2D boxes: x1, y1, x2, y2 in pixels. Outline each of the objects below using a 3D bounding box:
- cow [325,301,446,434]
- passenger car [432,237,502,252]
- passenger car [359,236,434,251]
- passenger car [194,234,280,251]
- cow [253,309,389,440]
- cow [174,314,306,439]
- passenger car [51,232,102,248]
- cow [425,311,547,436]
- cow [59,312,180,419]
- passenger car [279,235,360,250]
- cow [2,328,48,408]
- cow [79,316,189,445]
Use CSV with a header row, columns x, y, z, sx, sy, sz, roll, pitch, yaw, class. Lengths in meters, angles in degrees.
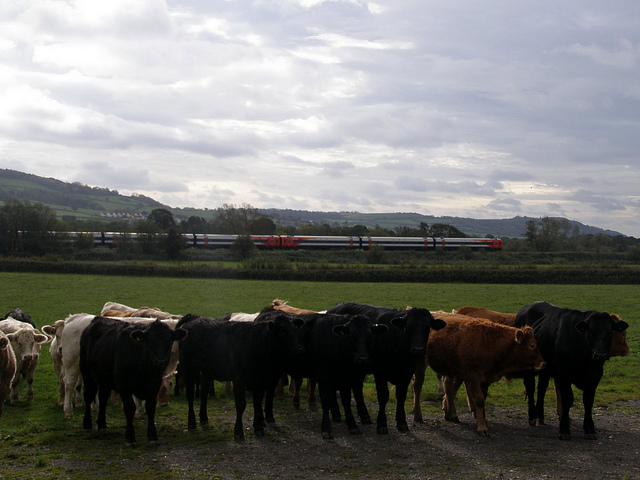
x,y,z,sx,sy,sz,roll,pitch,yaw,class
1.871,3.839,23.833,1.543,3.497,5.018,4,-7,-25,cow
18.675,0.673,100.314,9.197,1.651,3.212,0,-1,-33,passenger car
9.173,0.561,96.223,9.243,2.070,1.518,1,4,-8,passenger car
-9.469,0.348,89.547,12.356,2.698,1.765,1,0,-2,passenger car
0.169,3.778,22.653,2.962,3.397,2.148,-1,-1,39,cow
-2.499,3.830,23.164,5.456,3.505,1.448,-4,-2,43,cow
-26.073,0.035,86.771,3.009,1.648,6.021,-1,-1,38,passenger car
4.446,3.913,23.432,1.646,3.189,5.611,6,-6,-29,cow
-5.556,3.796,22.339,1.634,3.375,6.157,9,-7,-41,cow
-0.090,0.437,94.798,9.658,2.136,1.507,1,-2,-7,passenger car
-8.592,3.462,23.596,1.117,1.386,2.629,1,-3,-21,cow
-5.457,3.945,22.716,1.825,3.579,6.066,5,-7,-32,cow
